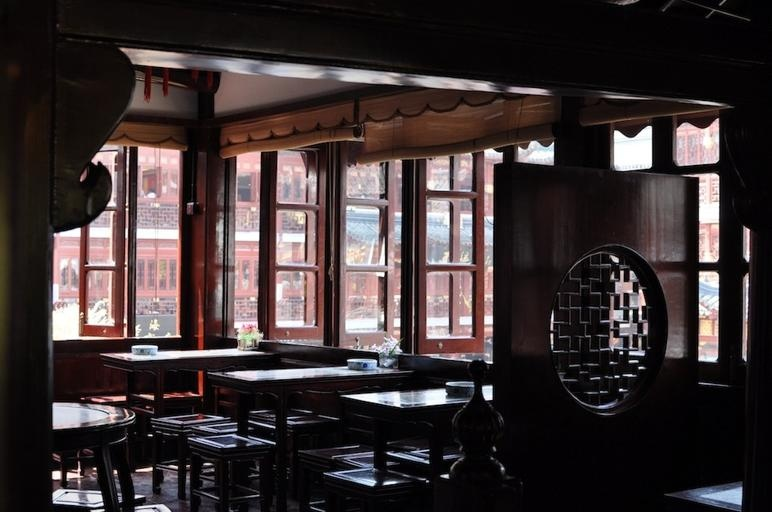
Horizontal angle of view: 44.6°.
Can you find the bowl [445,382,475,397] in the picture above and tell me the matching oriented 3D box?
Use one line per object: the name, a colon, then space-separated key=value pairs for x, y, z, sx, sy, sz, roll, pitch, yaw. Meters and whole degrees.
bowl: x=0.461 y=0.801 z=5.659 sx=0.192 sy=0.041 sz=0.186 roll=-1 pitch=0 yaw=0
